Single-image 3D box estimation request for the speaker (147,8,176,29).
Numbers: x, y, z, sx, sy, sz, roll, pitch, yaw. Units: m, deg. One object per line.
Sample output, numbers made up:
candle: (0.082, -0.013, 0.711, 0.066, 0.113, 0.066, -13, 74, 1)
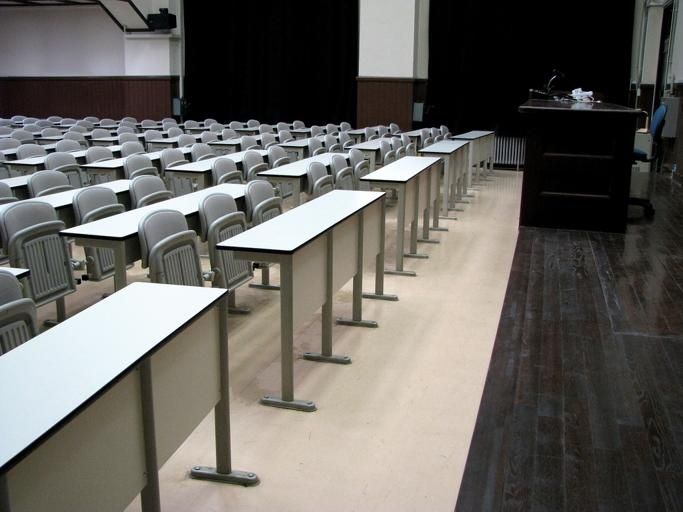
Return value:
speaker: (-4.888, -6.389, 13.804, 0.568, 0.664, 0.433, -5, 0, -12)
